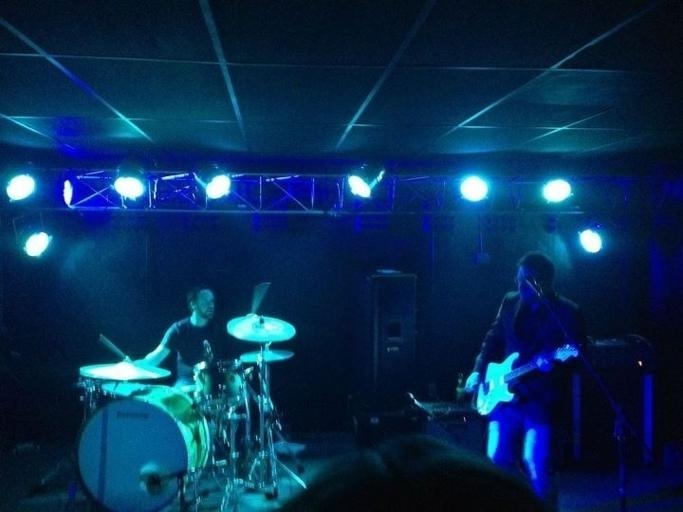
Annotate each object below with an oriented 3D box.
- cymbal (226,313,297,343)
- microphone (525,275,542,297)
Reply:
[{"bbox_3d":[-0.820,0.755,6.958,0.634,0.314,0.362,-3,-5,8],"label":"cymbal"},{"bbox_3d":[1.725,0.278,6.096,0.110,0.172,0.042,-33,3,-5],"label":"microphone"}]
